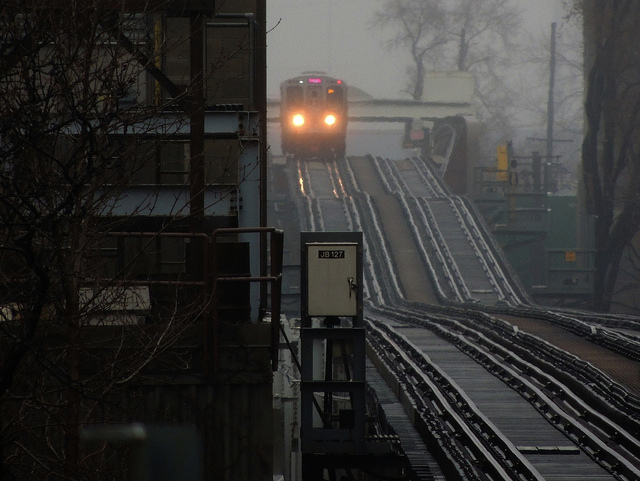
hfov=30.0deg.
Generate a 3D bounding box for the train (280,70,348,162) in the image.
[{"bbox_3d":[-0.211,-5.314,50.062,2.808,3.859,2.181,0,2,8],"label":"train"}]

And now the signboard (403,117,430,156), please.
[{"bbox_3d":[4.320,-4.729,55.537,1.416,0.998,2.551,-5,-14,-10],"label":"signboard"}]

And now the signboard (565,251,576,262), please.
[{"bbox_3d":[8.805,0.547,41.841,0.329,0.349,0.186,0,-4,-3],"label":"signboard"}]

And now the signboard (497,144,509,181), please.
[{"bbox_3d":[7.289,-3.204,47.690,0.341,1.085,0.376,1,1,20],"label":"signboard"}]
